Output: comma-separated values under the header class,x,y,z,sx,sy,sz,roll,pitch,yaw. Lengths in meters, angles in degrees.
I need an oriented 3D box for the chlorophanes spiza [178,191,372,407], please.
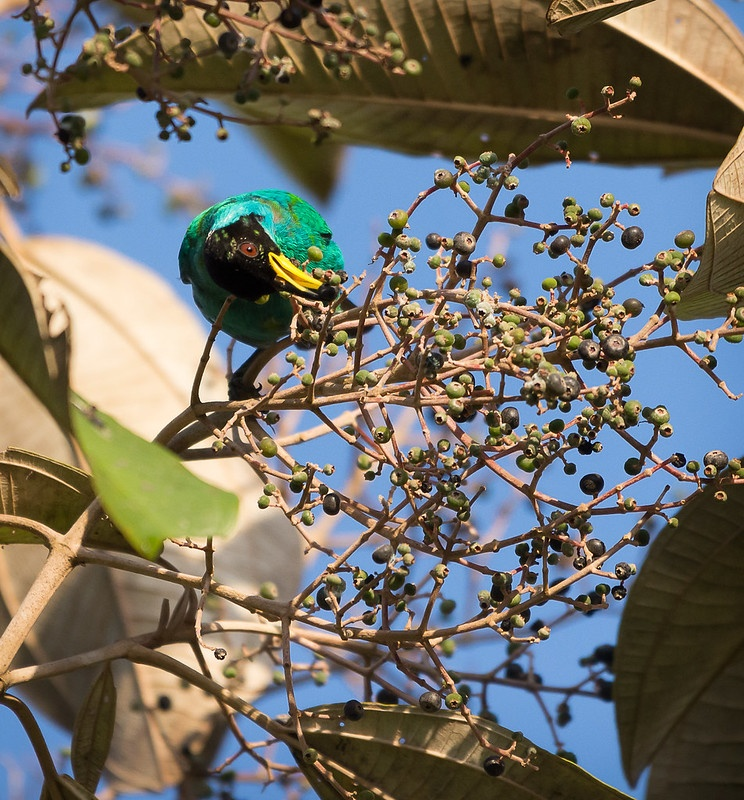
class,x,y,z,sx,sy,sz,roll,pitch,yaw
chlorophanes spiza,-0.241,-0.265,6.536,0.384,0.646,0.427,-9,-84,24
